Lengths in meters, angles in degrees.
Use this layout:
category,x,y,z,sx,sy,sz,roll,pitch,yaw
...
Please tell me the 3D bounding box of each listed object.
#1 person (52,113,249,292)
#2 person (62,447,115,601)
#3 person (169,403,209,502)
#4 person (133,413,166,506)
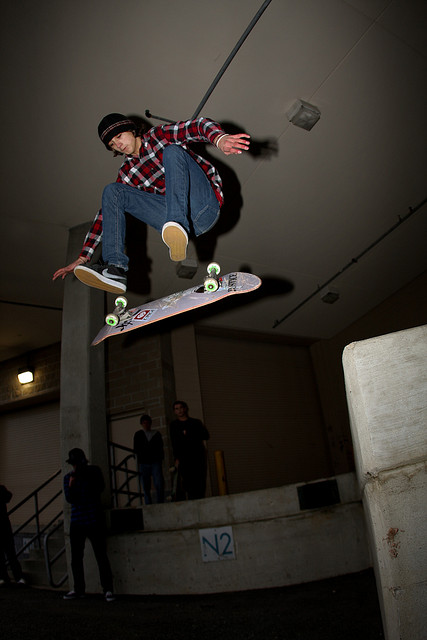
category,x,y,z,sx,sy,sz,roll,pitch,yaw
person,-0.684,-1.234,4.744,0.939,1.202,1.678,31,-66,-30
person,-1.129,1.774,4.184,0.399,1.256,0.357,-2,-14,-19
person,-0.337,1.702,6.255,0.471,1.238,0.557,0,-15,-26
person,-0.908,2.007,6.875,0.449,1.265,0.577,0,-15,-26
